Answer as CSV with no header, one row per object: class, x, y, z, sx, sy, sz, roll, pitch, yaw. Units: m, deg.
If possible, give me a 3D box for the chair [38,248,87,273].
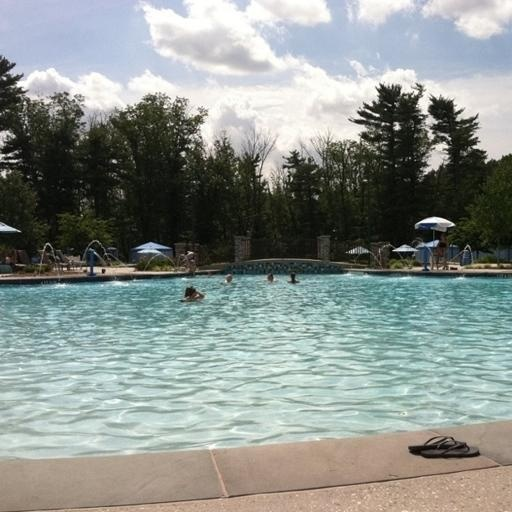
chair,-11.253,0.463,30.577,3.192,1.889,1.809,1,3,26
